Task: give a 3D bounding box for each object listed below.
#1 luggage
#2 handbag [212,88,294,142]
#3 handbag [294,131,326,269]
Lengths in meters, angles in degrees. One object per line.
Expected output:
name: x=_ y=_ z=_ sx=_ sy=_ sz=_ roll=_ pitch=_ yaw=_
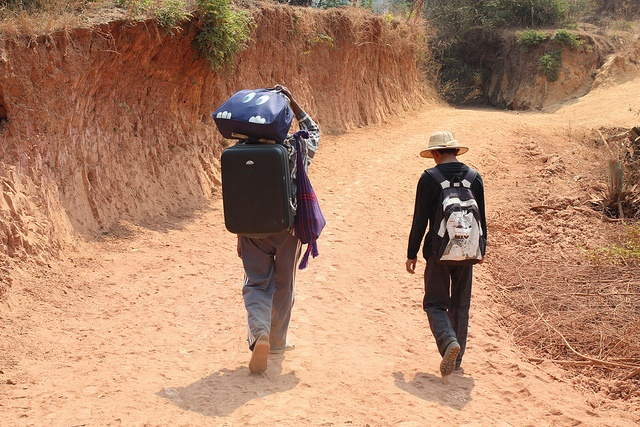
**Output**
luggage: x=-0.962 y=-0.359 z=12.628 sx=1.070 sy=1.399 sz=0.536 roll=-3 pitch=19 yaw=-6
handbag: x=-0.938 y=-1.692 z=12.910 sx=1.193 sy=0.462 sz=1.020 roll=10 pitch=55 yaw=29
handbag: x=-0.201 y=-0.214 z=12.935 sx=0.446 sy=2.098 sz=0.701 roll=-9 pitch=8 yaw=-19
